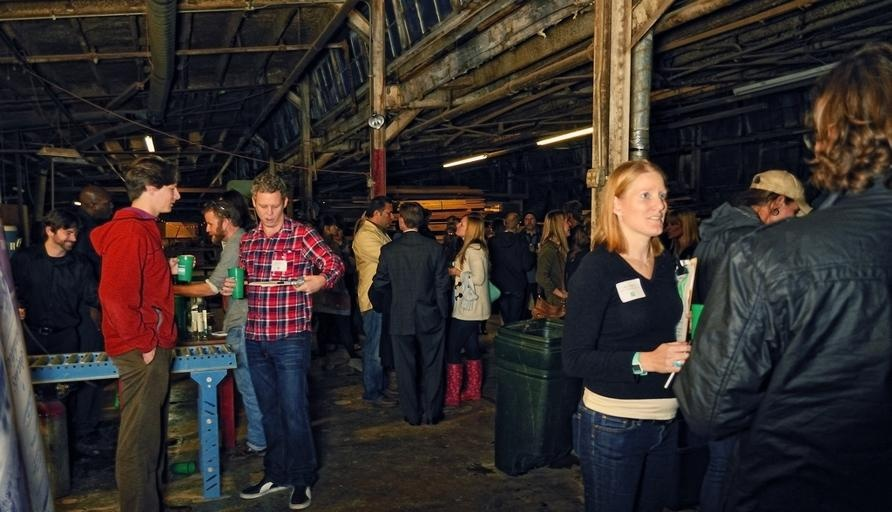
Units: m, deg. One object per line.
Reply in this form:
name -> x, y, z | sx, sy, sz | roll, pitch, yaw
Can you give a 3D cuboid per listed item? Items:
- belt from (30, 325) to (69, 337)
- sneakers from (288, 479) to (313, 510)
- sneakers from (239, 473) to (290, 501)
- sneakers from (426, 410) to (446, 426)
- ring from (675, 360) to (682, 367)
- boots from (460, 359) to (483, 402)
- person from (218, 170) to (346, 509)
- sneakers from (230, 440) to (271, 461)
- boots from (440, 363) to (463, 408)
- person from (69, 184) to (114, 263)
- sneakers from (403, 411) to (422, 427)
belt -> -4.784, 0.890, 7.669 | 0.385, 0.127, 0.077 | -3, 14, -12
sneakers -> -1.469, 2.431, 6.401 | 0.150, 0.112, 0.302 | 1, -6, -3
sneakers -> -1.874, 2.359, 6.535 | 0.598, 0.205, 0.209 | 2, -4, -18
sneakers -> -0.148, 2.054, 8.111 | 0.170, 0.106, 0.225 | -6, -6, 18
ring -> 1.682, 0.778, 4.619 | 0.055, 0.048, 0.012 | 0, -13, 13
boots -> 0.343, 1.675, 8.753 | 0.273, 0.570, 0.176 | -2, 15, -4
person -> -1.623, 0.834, 6.381 | 1.000, 3.271, 0.935 | -4, 15, -10
sneakers -> -2.270, 2.235, 7.382 | 0.566, 0.225, 0.212 | 4, -10, -6
boots -> 0.090, 1.707, 8.575 | 0.238, 0.592, 0.306 | 0, 14, 4
person -> -4.642, -0.518, 8.384 | 0.515, 0.758, 0.984 | -5, 13, -28
sneakers -> -0.440, 2.032, 8.066 | 0.269, 0.146, 0.173 | 3, 14, 15
